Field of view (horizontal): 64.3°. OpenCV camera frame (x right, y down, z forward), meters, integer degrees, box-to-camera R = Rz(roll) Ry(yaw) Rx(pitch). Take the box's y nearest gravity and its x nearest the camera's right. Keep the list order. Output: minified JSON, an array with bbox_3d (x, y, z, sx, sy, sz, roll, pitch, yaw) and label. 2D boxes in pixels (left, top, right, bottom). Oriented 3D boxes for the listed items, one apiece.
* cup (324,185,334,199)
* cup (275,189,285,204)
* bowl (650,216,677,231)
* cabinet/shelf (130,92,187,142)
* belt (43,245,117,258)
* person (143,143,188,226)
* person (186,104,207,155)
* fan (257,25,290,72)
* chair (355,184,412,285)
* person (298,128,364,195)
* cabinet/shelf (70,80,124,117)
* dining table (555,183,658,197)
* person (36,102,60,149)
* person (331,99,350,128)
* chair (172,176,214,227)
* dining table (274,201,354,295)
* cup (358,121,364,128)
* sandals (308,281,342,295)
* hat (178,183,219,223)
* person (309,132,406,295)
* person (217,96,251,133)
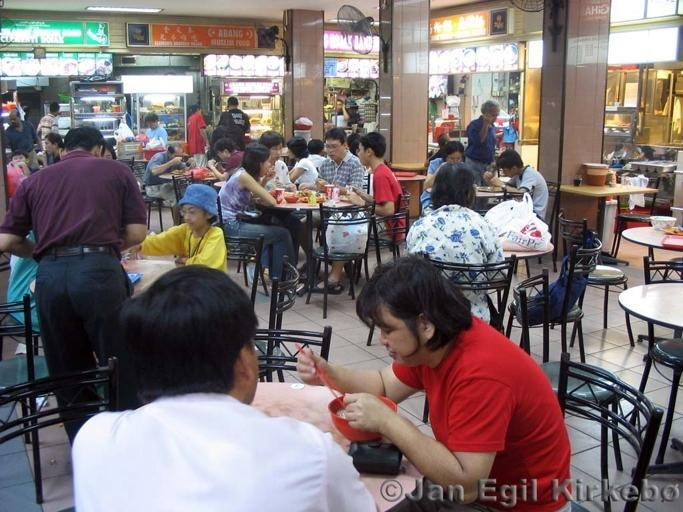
[{"bbox_3d":[-0.114,-0.701,5.989,0.143,0.151,0.147,-1,3,0],"label":"cup"},{"bbox_3d":[-0.651,-0.651,5.917,0.091,0.151,0.230,2,11,10],"label":"cup"},{"bbox_3d":[2.929,-0.320,4.978,0.162,0.077,0.166,-2,7,0],"label":"bowl"},{"bbox_3d":[-4.304,-3.205,12.665,1.451,1.521,0.840,-2,4,-19],"label":"cabinet/shelf"},{"bbox_3d":[-1.456,-0.025,3.041,0.365,0.071,0.074,-3,12,-17],"label":"belt"},{"bbox_3d":[-2.814,-1.167,8.902,0.738,1.313,0.785,10,16,23],"label":"person"},{"bbox_3d":[-3.082,-2.588,11.598,0.357,0.847,0.390,-4,12,-18],"label":"person"},{"bbox_3d":[-1.682,-5.049,13.062,0.855,0.612,1.606,-2,10,-13],"label":"fan"},{"bbox_3d":[0.535,-0.436,5.884,0.747,1.236,0.834,0,16,11],"label":"chair"},{"bbox_3d":[0.040,-1.053,6.834,0.469,0.875,0.582,1,-21,-2],"label":"person"},{"bbox_3d":[-5.474,-3.495,12.089,0.830,0.813,0.327,-2,6,-22],"label":"cabinet/shelf"},{"bbox_3d":[3.471,-0.834,7.131,1.142,0.193,0.699,-4,12,-18],"label":"dining table"},{"bbox_3d":[-5.951,-2.736,10.958,0.330,0.220,0.870,-7,-15,-43],"label":"person"},{"bbox_3d":[-0.016,-3.612,13.719,0.424,0.749,1.089,0,11,0],"label":"person"},{"bbox_3d":[-1.013,-0.391,3.894,0.237,0.227,0.284,5,11,17],"label":"chair"},{"bbox_3d":[-0.327,-0.126,6.063,0.870,0.923,0.898,-2,11,-7],"label":"dining table"},{"bbox_3d":[0.527,-3.476,14.278,0.136,0.202,0.383,1,11,5],"label":"cup"},{"bbox_3d":[-0.163,0.336,5.828,0.342,0.133,0.128,-1,8,-9],"label":"sandals"},{"bbox_3d":[-1.022,-0.389,3.841,0.332,0.209,0.256,9,-16,-30],"label":"hat"},{"bbox_3d":[0.245,-0.453,5.964,0.866,1.698,0.833,-1,13,2],"label":"person"},{"bbox_3d":[-2.217,-3.147,11.585,0.534,0.386,1.130,0,4,-6],"label":"person"}]
